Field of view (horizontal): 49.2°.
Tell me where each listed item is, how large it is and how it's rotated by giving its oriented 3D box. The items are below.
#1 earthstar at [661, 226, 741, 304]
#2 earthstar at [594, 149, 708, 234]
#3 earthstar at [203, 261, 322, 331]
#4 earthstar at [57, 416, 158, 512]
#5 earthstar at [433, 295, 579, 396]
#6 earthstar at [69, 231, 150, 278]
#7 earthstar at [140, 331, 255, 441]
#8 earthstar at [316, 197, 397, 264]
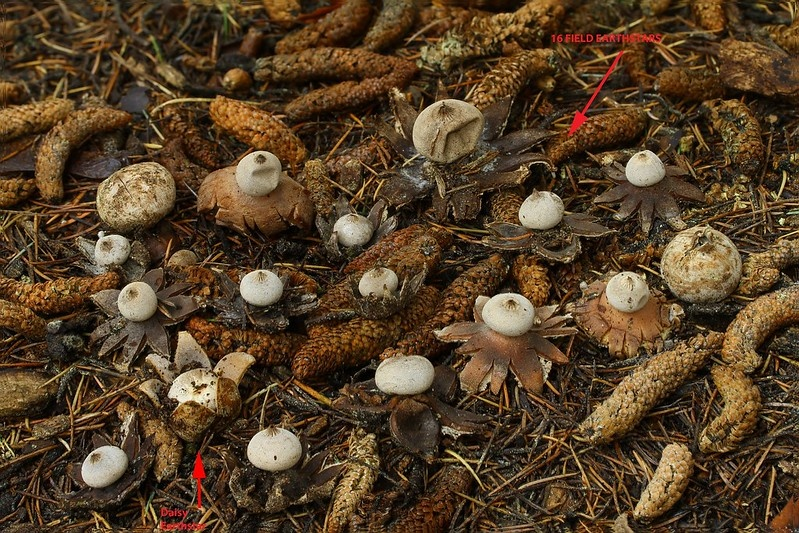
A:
[{"bbox_3d":[1.717,0.033,5.005,0.378,0.421,0.451,-3,74,8],"label":"earthstar"},{"bbox_3d":[1.487,-0.437,5.015,0.488,0.180,0.568,-6,61,1],"label":"earthstar"},{"bbox_3d":[-0.772,0.227,5.069,0.387,0.176,0.459,2,40,-3],"label":"earthstar"},{"bbox_3d":[-1.531,1.070,4.758,0.438,0.205,0.547,15,49,33],"label":"earthstar"},{"bbox_3d":[0.617,0.424,4.862,0.608,0.241,0.617,40,72,18],"label":"earthstar"},{"bbox_3d":[-1.708,-0.088,5.208,0.354,0.139,0.316,-14,29,29],"label":"earthstar"},{"bbox_3d":[-1.098,0.673,4.802,0.534,0.247,0.608,-16,64,2],"label":"earthstar"},{"bbox_3d":[-0.247,-0.201,5.341,0.331,0.194,0.457,26,58,25],"label":"earthstar"}]
